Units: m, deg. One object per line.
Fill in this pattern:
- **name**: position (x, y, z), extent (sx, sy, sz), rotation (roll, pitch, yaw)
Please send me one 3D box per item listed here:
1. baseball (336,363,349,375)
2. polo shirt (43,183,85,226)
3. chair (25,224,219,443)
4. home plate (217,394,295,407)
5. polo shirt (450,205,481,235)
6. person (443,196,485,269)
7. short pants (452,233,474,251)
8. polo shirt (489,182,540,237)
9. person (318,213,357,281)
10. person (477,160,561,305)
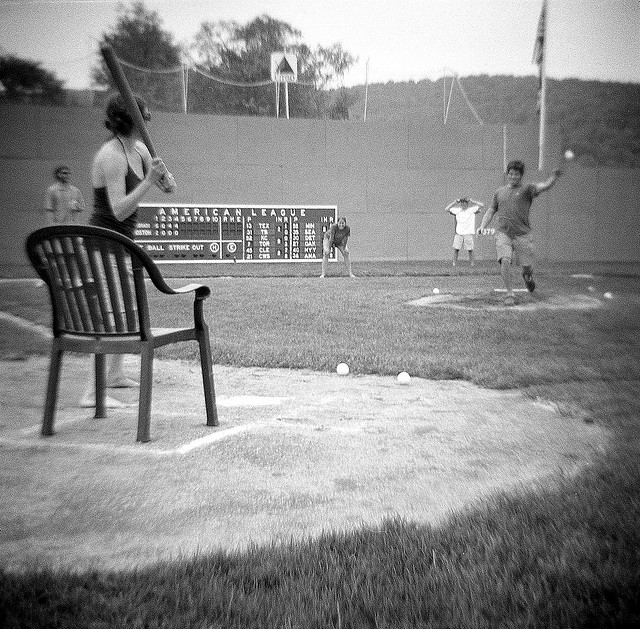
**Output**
- **baseball**: position (0.143, 0.335, 3.924), extent (0.080, 0.051, 0.146), rotation (-1, 8, 0)
- **polo shirt**: position (-2.062, -0.896, 5.116), extent (0.141, 0.398, 0.299), rotation (11, 3, 21)
- **chair**: position (-0.870, 0.072, 2.729), extent (0.601, 1.298, 0.774), rotation (1, 2, 16)
- **home plate**: position (-0.319, 0.429, 3.193), extent (0.368, 0.024, 0.255), rotation (-1, 9, -4)
- **polo shirt**: position (2.436, -1.587, 10.824), extent (0.403, 0.460, 0.752), rotation (1, 8, 12)
- **person**: position (2.498, -1.440, 10.957), extent (0.534, 1.422, 0.401), rotation (2, 38, 15)
- **short pants**: position (2.450, -1.209, 10.773), extent (0.306, 0.292, 0.576), rotation (1, 8, 15)
- **polo shirt**: position (1.786, -0.950, 5.848), extent (0.409, 0.481, 0.391), rotation (2, 7, 18)
- **person**: position (0.240, -1.016, 9.532), extent (0.417, 1.037, 0.474), rotation (-13, 22, -40)
- **person**: position (1.912, -0.784, 5.957), extent (0.561, 1.319, 0.677), rotation (10, 19, 42)
